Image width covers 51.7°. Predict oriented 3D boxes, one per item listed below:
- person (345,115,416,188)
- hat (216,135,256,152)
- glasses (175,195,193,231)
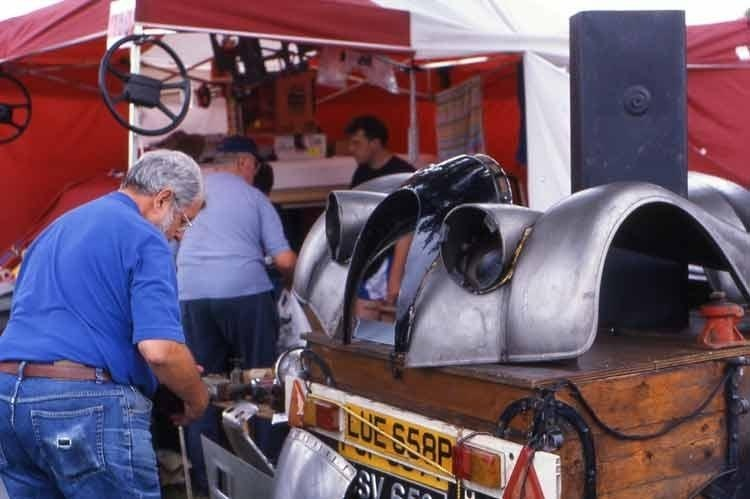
[{"bbox_3d":[0.029,-0.814,6.564,0.570,0.685,0.765,-12,12,-34],"label":"person"},{"bbox_3d":[-0.975,-0.753,5.551,0.140,0.078,0.185,-1,3,-35],"label":"hat"},{"bbox_3d":[-0.910,-0.168,3.664,0.062,0.149,0.107,21,-11,-36],"label":"glasses"}]
